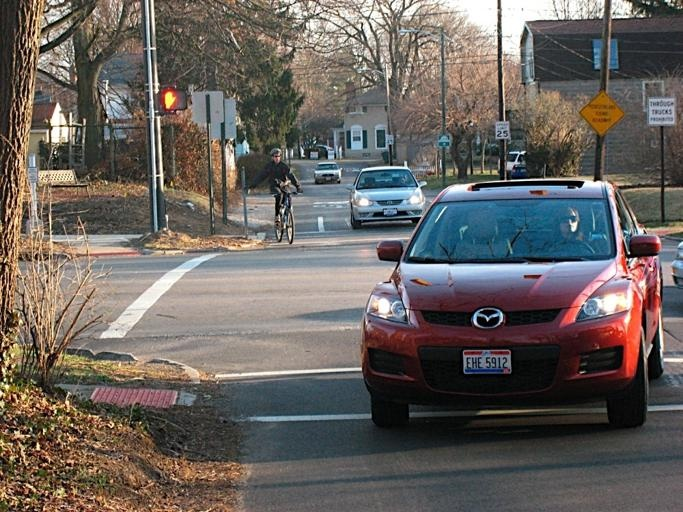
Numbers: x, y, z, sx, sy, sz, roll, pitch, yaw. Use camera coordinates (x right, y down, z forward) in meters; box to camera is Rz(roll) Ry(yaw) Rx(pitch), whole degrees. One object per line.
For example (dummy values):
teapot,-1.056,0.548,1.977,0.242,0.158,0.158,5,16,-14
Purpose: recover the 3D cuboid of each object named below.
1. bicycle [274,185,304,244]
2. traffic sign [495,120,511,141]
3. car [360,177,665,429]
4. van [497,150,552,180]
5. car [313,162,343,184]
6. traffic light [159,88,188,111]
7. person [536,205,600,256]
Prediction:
bicycle,-1.254,-1.023,23.964,0.685,0.972,1.459,0,2,-14
traffic sign,6.530,-5.100,38.735,0.469,0.680,0.584,2,7,16
car,1.562,0.260,8.538,1.546,1.426,3.016,-3,-3,15
van,9.307,-5.005,47.967,1.831,1.953,3.581,-1,2,-6
car,-1.041,-5.712,66.006,1.722,1.399,2.246,-1,7,-6
traffic light,-4.057,-3.699,22.607,0.671,0.595,0.442,-2,7,-16
person,2.091,-0.241,8.754,0.507,0.368,0.741,4,25,18
